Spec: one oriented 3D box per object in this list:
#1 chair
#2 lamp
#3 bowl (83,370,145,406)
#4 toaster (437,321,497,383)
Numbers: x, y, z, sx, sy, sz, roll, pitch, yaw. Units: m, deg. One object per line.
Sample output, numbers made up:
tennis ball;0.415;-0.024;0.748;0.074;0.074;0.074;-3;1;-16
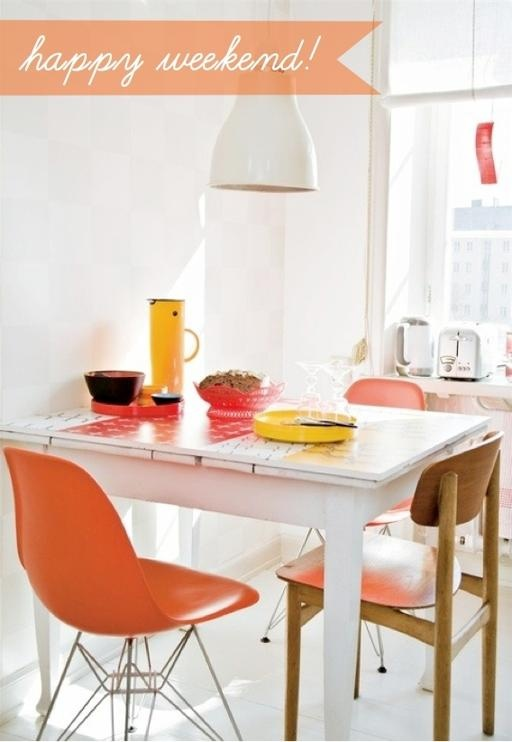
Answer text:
chair;-0.008;0.399;1.616;0.910;0.567;0.697;2;6;32
lamp;0.012;-0.561;1.495;0.255;0.273;0.158;-1;5;3
bowl;-0.386;0.065;1.812;0.112;0.068;0.119;0;-5;0
toaster;0.835;-0.105;2.619;0.171;0.223;0.263;6;21;24
